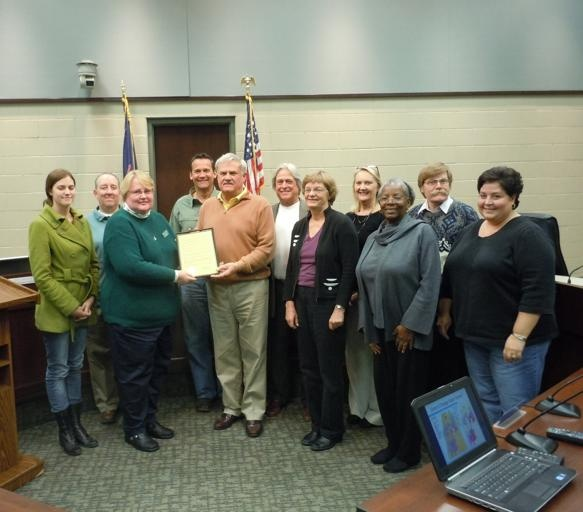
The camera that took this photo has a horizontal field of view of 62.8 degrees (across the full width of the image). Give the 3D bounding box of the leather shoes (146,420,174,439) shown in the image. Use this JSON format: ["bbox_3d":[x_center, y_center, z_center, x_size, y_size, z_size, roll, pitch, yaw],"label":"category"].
[{"bbox_3d":[-0.882,1.155,3.205,0.178,0.078,0.089,2,5,17],"label":"leather shoes"}]

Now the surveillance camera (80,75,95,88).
[{"bbox_3d":[-2.106,-1.804,4.929,0.147,0.112,0.153,-3,8,-19],"label":"surveillance camera"}]

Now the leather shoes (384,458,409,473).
[{"bbox_3d":[0.588,1.181,2.691,0.120,0.047,0.070,-5,33,10],"label":"leather shoes"}]

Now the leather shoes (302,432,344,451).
[{"bbox_3d":[0.197,1.170,3.024,0.156,0.058,0.115,6,-6,-33],"label":"leather shoes"}]

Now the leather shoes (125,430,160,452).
[{"bbox_3d":[-0.963,1.179,3.069,0.206,0.094,0.093,6,10,28],"label":"leather shoes"}]
